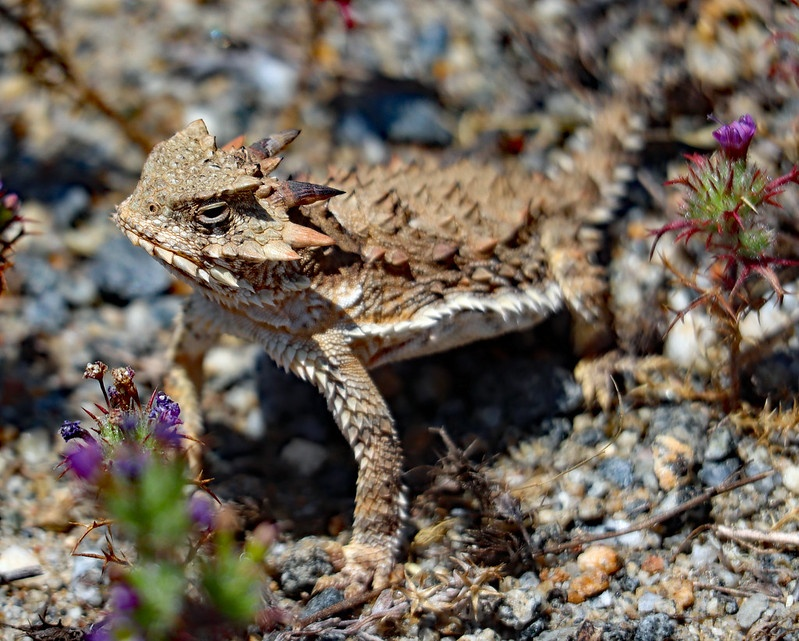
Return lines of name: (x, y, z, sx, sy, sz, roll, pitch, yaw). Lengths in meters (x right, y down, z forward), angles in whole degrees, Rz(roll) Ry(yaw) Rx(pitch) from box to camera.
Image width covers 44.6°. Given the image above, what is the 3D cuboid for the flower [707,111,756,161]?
flower: (1.052, -0.550, 3.070, 0.153, 0.145, 0.147, -6, 78, 10)
